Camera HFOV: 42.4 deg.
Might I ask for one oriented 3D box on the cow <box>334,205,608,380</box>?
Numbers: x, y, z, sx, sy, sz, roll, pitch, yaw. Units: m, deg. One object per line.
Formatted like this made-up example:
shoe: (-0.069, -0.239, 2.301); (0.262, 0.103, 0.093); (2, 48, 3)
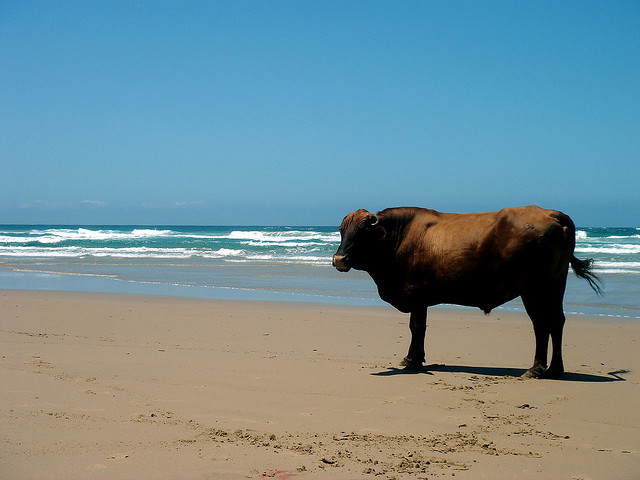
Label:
cow: (2.099, 0.620, 11.901); (4.078, 1.946, 1.068); (0, 1, 27)
